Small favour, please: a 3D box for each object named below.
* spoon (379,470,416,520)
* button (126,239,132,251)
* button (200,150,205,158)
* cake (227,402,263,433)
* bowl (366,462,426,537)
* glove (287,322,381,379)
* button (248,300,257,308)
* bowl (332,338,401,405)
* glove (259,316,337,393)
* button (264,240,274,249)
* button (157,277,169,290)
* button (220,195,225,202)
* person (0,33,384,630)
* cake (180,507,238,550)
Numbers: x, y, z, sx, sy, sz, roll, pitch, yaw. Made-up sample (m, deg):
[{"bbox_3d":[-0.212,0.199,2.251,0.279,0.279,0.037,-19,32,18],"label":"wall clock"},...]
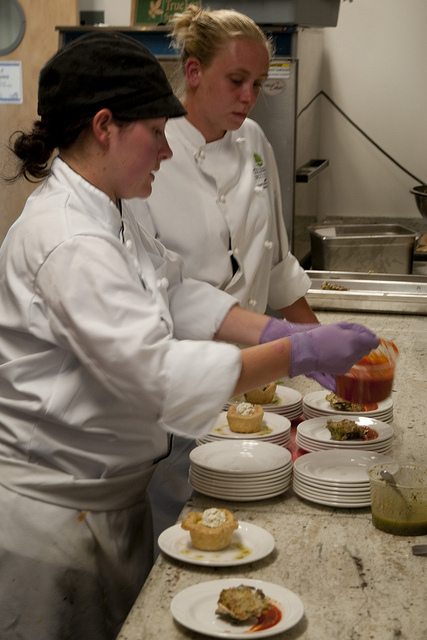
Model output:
[{"bbox_3d":[0.290,0.288,0.919,0.048,0.070,0.063,-6,6,-28],"label":"spoon"},{"bbox_3d":[-0.151,-0.134,1.008,0.013,0.016,0.005,1,-15,32],"label":"button"},{"bbox_3d":[-0.034,-0.480,1.630,0.016,0.012,0.023,7,40,3],"label":"button"},{"bbox_3d":[0.070,0.231,1.347,0.075,0.041,0.073,2,2,26],"label":"cake"},{"bbox_3d":[0.302,0.293,0.916,0.116,0.076,0.106,-2,6,0],"label":"bowl"},{"bbox_3d":[0.229,0.062,1.057,0.195,0.096,0.094,-8,7,-43],"label":"glove"},{"bbox_3d":[0.122,-0.050,1.791,0.017,0.024,0.025,-3,-9,1],"label":"button"},{"bbox_3d":[0.303,0.096,1.108,0.131,0.082,0.124,-3,6,0],"label":"bowl"},{"bbox_3d":[0.186,0.082,1.359,0.222,0.103,0.127,8,27,-2],"label":"glove"},{"bbox_3d":[0.172,-0.238,1.785,0.035,0.015,0.042,2,16,4],"label":"button"},{"bbox_3d":[-0.102,-0.072,1.123,0.019,0.020,0.023,1,-16,1],"label":"button"},{"bbox_3d":[0.025,-0.357,1.665,0.012,0.018,0.019,-2,5,10],"label":"button"},{"bbox_3d":[-0.117,0.080,1.042,0.563,1.090,0.444,-8,7,-39],"label":"person"},{"bbox_3d":[-0.007,0.337,0.905,0.088,0.036,0.093,1,2,37],"label":"cake"}]
